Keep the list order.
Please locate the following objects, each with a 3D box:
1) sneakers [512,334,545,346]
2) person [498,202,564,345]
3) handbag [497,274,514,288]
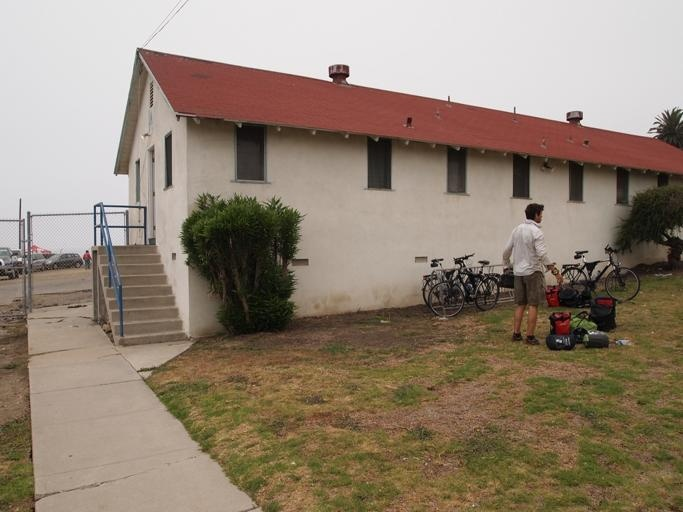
[{"bbox_3d":[3.325,1.522,9.678,0.488,0.243,0.186,0,0,40],"label":"sneakers"},{"bbox_3d":[3.363,0.382,9.537,0.581,2.545,1.029,-5,10,-17],"label":"person"},{"bbox_3d":[3.296,0.516,10.701,0.249,0.324,0.327,1,9,40],"label":"handbag"}]
